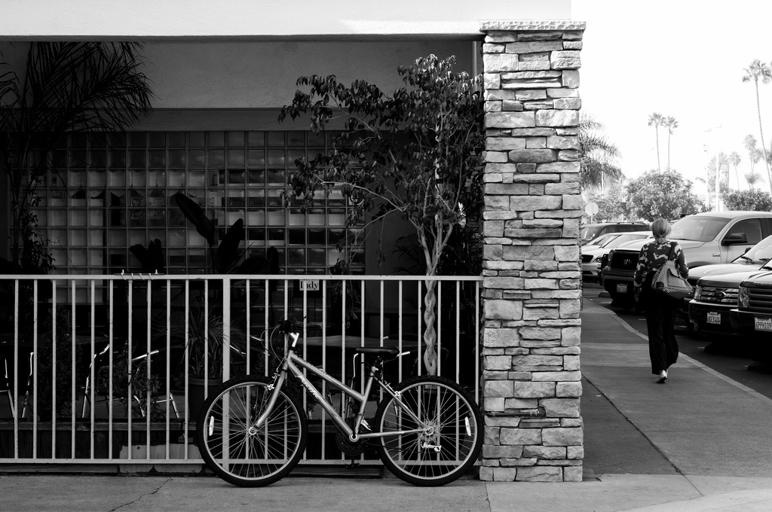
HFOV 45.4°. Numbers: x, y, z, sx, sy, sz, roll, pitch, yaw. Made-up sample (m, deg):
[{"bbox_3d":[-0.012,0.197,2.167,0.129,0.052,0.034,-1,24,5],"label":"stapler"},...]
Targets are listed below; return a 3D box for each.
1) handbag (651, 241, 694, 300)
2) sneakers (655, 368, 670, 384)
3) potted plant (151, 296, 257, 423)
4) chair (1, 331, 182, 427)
[{"bbox_3d":[4.115,0.309,13.210,0.559,0.609,0.220,-1,8,-9],"label":"handbag"},{"bbox_3d":[4.043,1.728,13.505,0.110,0.132,0.311,1,2,7],"label":"sneakers"},{"bbox_3d":[-1.877,1.160,10.135,1.354,1.371,1.148,-1,-3,-34],"label":"potted plant"},{"bbox_3d":[-3.324,1.326,10.085,1.550,0.866,1.197,1,0,-22],"label":"chair"}]
